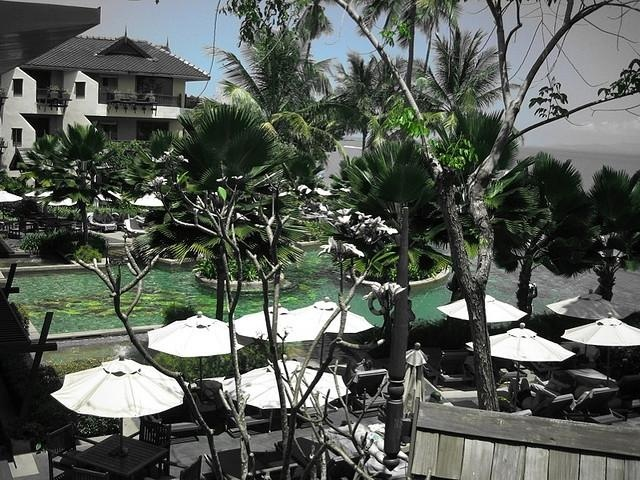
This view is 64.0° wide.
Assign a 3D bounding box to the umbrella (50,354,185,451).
[{"bbox_3d":[-3.345,2.466,8.556,1.955,0.896,1.022,0,-2,-7],"label":"umbrella"}]

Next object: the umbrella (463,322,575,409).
[{"bbox_3d":[4.752,3.025,12.185,1.801,1.579,1.853,1,2,1],"label":"umbrella"}]

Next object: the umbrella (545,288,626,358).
[{"bbox_3d":[7.473,2.507,14.648,1.828,1.678,1.882,0,4,10],"label":"umbrella"}]

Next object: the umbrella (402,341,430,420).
[{"bbox_3d":[1.945,2.746,10.476,0.387,1.270,1.398,-1,-2,14],"label":"umbrella"}]
